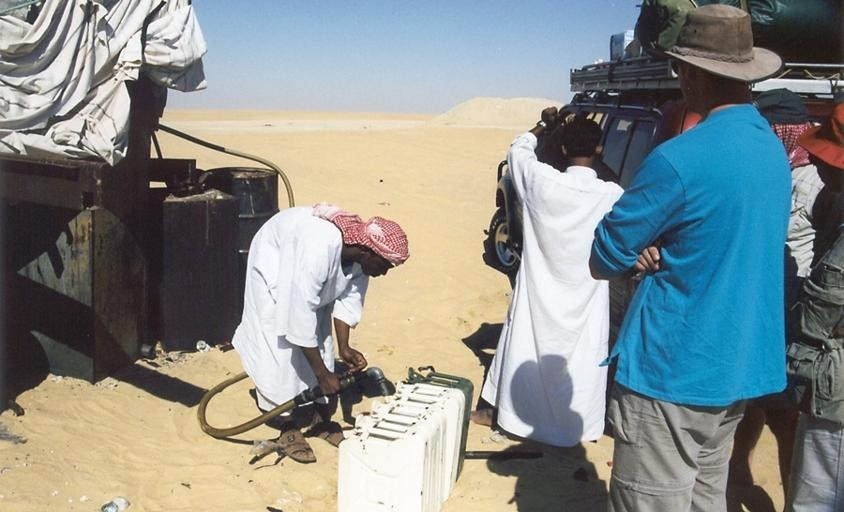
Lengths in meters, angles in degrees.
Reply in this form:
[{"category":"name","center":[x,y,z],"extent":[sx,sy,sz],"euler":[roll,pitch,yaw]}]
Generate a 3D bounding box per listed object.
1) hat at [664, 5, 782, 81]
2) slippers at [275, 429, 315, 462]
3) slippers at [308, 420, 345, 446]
[{"category":"hat","center":[2.119,-1.415,6.179],"extent":[0.646,0.275,0.586],"euler":[20,29,29]},{"category":"slippers","center":[-1.183,1.781,8.185],"extent":[0.394,0.143,0.208],"euler":[31,55,25]},{"category":"slippers","center":[-0.933,1.708,8.452],"extent":[0.315,0.098,0.310],"euler":[-19,35,-29]}]
